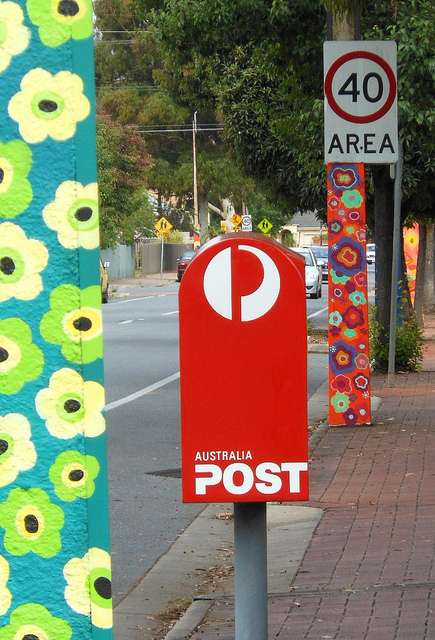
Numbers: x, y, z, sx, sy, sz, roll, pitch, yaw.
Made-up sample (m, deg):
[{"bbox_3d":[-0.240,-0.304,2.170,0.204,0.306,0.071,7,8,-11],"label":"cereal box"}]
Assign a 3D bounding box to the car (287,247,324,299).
[{"bbox_3d":[2.848,-1.533,30.767,1.401,1.512,3.413,0,0,3],"label":"car"}]
